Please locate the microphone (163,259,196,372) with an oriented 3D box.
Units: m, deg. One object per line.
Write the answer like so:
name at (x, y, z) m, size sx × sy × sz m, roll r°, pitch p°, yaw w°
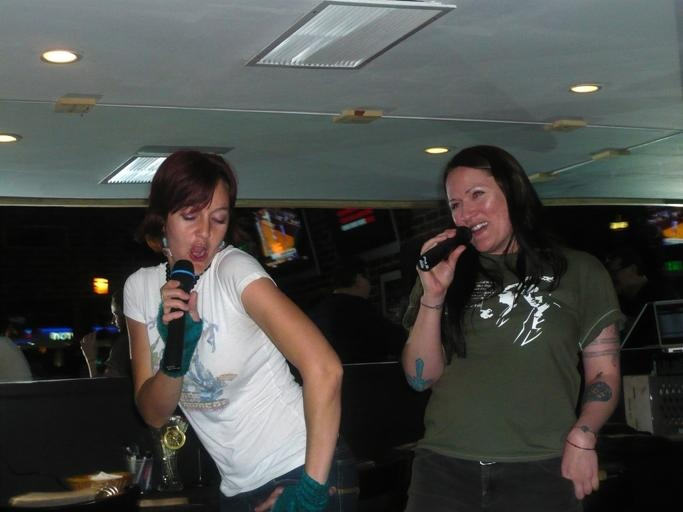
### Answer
microphone at (-0.424, 0.154, 1.536) m, size 0.110 × 0.265 × 0.198 m, roll -7°, pitch -1°, yaw -12°
